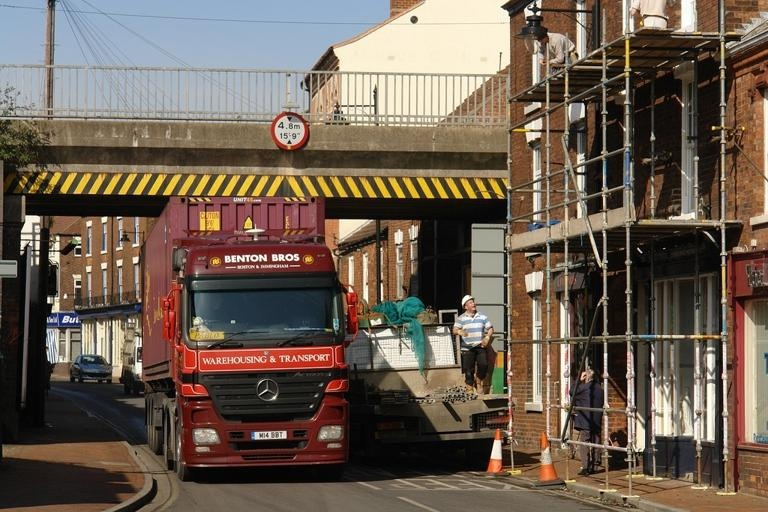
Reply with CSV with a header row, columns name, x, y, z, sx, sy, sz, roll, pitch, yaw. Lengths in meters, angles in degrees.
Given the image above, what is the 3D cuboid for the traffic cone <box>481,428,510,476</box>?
name,x,y,z,sx,sy,sz,roll,pitch,yaw
traffic cone,2.280,4.442,37.736,0.807,1.096,0.839,2,-6,-2

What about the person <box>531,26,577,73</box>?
name,x,y,z,sx,sy,sz,roll,pitch,yaw
person,3.973,-4.862,39.318,1.045,1.048,0.776,-13,17,-21

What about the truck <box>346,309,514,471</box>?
name,x,y,z,sx,sy,sz,roll,pitch,yaw
truck,0.807,3.005,38.381,3.153,2.983,1.122,-2,-9,-4
